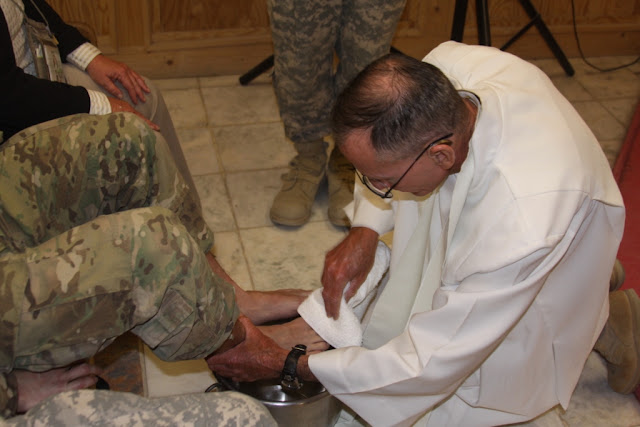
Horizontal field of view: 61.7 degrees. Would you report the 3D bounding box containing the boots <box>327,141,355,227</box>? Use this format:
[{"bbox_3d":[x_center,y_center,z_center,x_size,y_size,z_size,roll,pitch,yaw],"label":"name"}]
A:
[{"bbox_3d":[0.086,-0.155,2.868,0.132,0.163,0.424,-5,72,-5],"label":"boots"}]

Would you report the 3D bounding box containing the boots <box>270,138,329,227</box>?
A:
[{"bbox_3d":[-0.050,-0.223,2.873,0.196,0.276,0.606,17,52,10],"label":"boots"}]

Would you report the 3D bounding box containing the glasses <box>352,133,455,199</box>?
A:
[{"bbox_3d":[0.271,-0.144,1.653,0.056,0.212,0.204,41,3,-13],"label":"glasses"}]
